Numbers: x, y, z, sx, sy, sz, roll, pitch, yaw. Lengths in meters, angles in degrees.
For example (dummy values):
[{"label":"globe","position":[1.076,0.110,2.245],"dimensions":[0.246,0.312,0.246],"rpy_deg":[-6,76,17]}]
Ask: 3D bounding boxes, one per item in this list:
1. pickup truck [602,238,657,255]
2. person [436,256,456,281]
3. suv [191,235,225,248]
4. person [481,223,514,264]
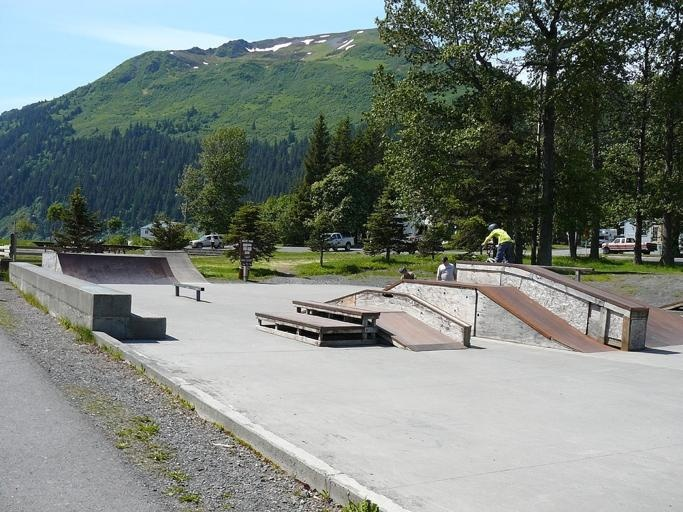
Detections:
[{"label":"pickup truck","position":[23.988,-0.747,68.116],"dimensions":[1.669,1.132,3.473],"rpy_deg":[-2,4,-39]},{"label":"person","position":[3.146,0.335,24.646],"dimensions":[0.536,0.911,1.460],"rpy_deg":[-4,11,9]},{"label":"suv","position":[-12.313,-1.289,75.267],"dimensions":[2.621,1.110,1.519],"rpy_deg":[3,-2,-30]},{"label":"person","position":[4.844,-0.420,25.036],"dimensions":[0.667,1.213,2.617],"rpy_deg":[-3,11,10]}]
